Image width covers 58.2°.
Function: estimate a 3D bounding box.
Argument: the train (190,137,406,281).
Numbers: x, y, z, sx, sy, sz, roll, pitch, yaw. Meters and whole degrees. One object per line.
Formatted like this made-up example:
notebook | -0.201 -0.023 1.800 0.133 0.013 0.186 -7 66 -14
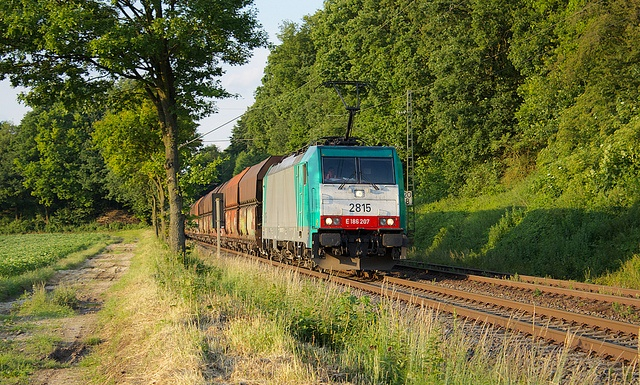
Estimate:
train | -1.513 1.239 34.541 5.177 6.515 20.771 0 -4 -16
